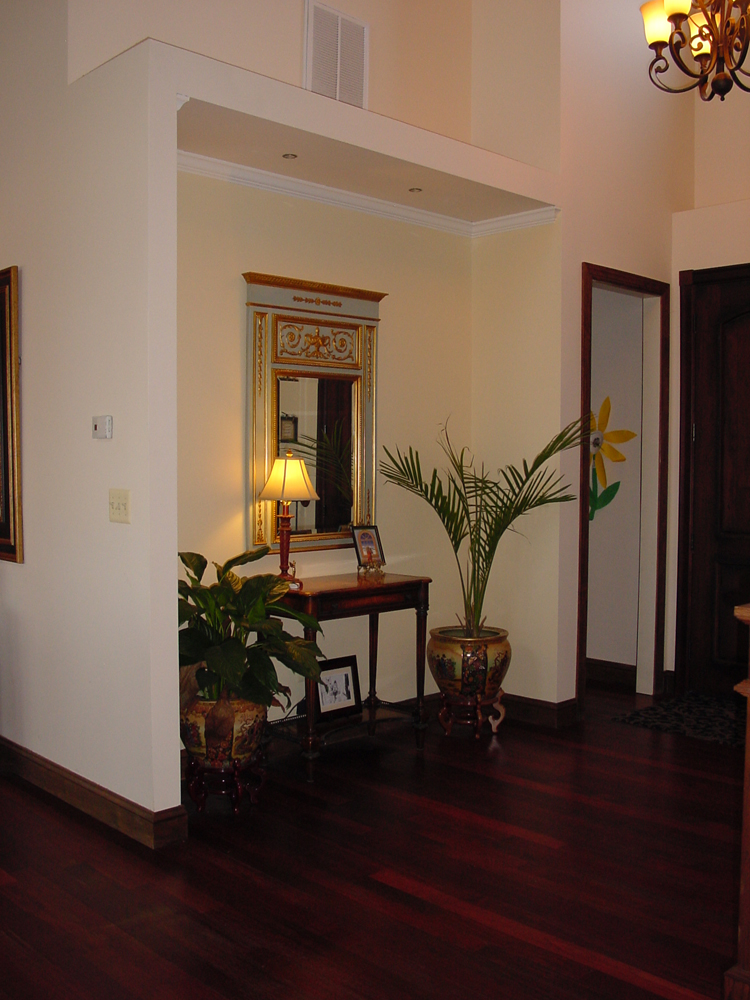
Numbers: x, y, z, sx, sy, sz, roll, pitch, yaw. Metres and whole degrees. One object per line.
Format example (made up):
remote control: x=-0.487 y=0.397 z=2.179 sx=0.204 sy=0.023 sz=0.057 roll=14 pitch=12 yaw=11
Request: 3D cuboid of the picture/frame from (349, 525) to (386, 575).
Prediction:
picture/frame: x=-0.046 y=0.251 z=3.738 sx=0.021 sy=0.305 sz=0.232 roll=-21 pitch=-13 yaw=32

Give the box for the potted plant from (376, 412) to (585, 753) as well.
potted plant: x=0.579 y=0.384 z=3.931 sx=0.915 sy=1.595 sz=0.866 roll=-4 pitch=-6 yaw=17

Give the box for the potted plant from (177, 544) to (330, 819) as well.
potted plant: x=-0.615 y=0.690 z=2.897 sx=0.601 sy=0.809 sz=0.573 roll=6 pitch=-23 yaw=-25

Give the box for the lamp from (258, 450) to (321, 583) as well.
lamp: x=-0.389 y=0.075 z=3.319 sx=0.216 sy=0.566 sz=0.233 roll=2 pitch=-1 yaw=-12

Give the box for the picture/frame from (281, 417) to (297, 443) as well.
picture/frame: x=-0.409 y=-0.331 z=3.538 sx=0.013 sy=0.102 sz=0.100 roll=-1 pitch=9 yaw=34
